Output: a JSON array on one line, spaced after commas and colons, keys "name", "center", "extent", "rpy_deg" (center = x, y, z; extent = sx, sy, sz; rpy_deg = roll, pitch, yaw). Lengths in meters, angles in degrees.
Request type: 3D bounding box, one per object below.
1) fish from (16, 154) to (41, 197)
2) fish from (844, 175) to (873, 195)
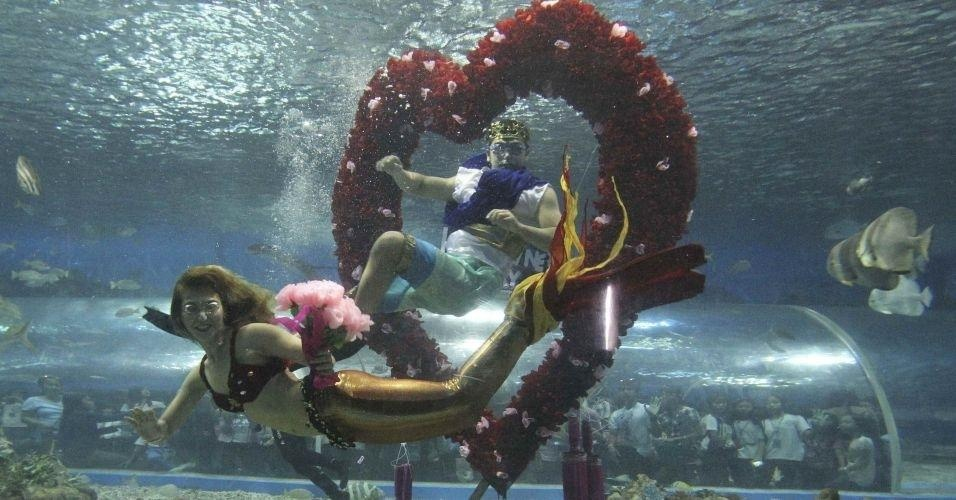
[{"name": "fish", "center": [-15.975, -2.721, 31.604], "extent": [0.556, 1.629, 1.177], "rpy_deg": [-28, 5, -29]}, {"name": "fish", "center": [13.399, -2.277, 31.121], "extent": [0.637, 0.143, 0.582], "rpy_deg": [-30, -40, 35]}]
